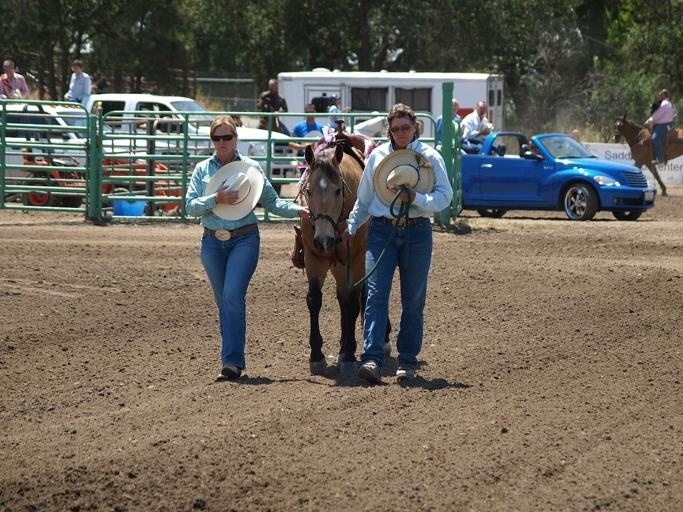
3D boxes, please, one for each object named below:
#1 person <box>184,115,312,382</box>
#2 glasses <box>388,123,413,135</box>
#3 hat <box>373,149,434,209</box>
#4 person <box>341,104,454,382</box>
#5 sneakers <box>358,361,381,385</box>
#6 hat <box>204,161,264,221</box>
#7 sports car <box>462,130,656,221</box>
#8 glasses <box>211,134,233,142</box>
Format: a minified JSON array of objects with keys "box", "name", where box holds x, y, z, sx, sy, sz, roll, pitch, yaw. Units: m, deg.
[{"box":[-1.199,-0.068,9.921,0.628,2.665,0.726,-10,16,-40],"name":"person"},{"box":[0.591,-1.275,9.675,0.254,0.105,0.172,1,14,2],"name":"glasses"},{"box":[0.610,-0.753,9.549,0.605,0.550,0.236,1,13,2],"name":"hat"},{"box":[0.550,-0.101,9.720,0.975,2.762,0.588,-1,13,-3],"name":"person"},{"box":[0.278,1.169,9.731,0.115,0.152,0.303,2,-30,8],"name":"sneakers"},{"box":[-1.074,-0.664,9.861,0.595,0.567,0.386,-2,13,-9],"name":"hat"},{"box":[4.064,-1.490,18.880,3.281,1.430,1.832,1,3,29],"name":"sports car"},{"box":[-1.201,-1.197,9.809,0.220,0.083,0.086,-3,14,-11],"name":"glasses"}]
